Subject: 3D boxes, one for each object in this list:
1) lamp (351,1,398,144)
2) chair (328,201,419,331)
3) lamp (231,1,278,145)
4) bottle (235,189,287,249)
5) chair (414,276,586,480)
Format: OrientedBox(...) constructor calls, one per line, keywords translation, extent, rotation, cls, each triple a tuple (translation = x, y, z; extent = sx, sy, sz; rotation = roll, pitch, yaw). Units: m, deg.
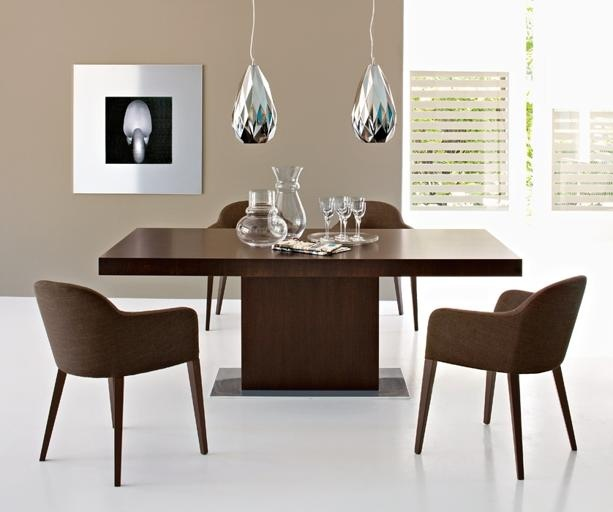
OrientedBox(translation=(0.353, -0.801, 3.149), extent=(0.224, 0.403, 0.185), rotation=(1, 11, 5), cls="lamp")
OrientedBox(translation=(0.593, 0.066, 4.878), extent=(0.755, 1.432, 0.895), rotation=(0, -2, 4), cls="chair")
OrientedBox(translation=(-0.278, -0.801, 3.145), extent=(0.224, 0.402, 0.130), rotation=(-2, 11, -9), cls="lamp")
OrientedBox(translation=(-0.233, -0.177, 3.161), extent=(0.250, 0.315, 0.273), rotation=(0, -2, 0), cls="bottle")
OrientedBox(translation=(1.015, 0.414, 3.020), extent=(0.758, 1.229, 0.814), rotation=(1, 0, 41), cls="chair")
